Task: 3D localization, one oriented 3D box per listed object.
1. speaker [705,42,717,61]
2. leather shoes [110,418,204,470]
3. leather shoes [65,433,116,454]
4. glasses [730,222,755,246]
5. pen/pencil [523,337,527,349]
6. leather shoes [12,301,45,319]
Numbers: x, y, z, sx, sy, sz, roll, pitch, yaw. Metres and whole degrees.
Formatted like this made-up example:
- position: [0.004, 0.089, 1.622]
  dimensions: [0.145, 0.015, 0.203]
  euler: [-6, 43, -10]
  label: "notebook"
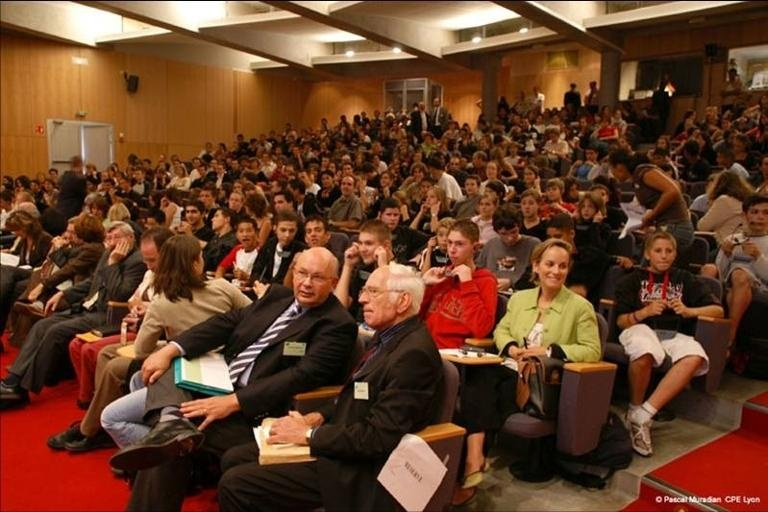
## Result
- position: [8.772, -5.455, 14.199]
  dimensions: [0.347, 0.403, 0.274]
  euler: [7, 11, 28]
  label: "speaker"
- position: [-1.262, 1.029, 2.932]
  dimensions: [0.513, 0.178, 0.242]
  euler: [-16, 32, -14]
  label: "leather shoes"
- position: [-2.133, 1.340, 3.883]
  dimensions: [0.331, 0.132, 0.135]
  euler: [5, -8, -35]
  label: "leather shoes"
- position: [3.228, -0.194, 4.760]
  dimensions: [0.258, 0.068, 0.208]
  euler: [9, -21, -43]
  label: "glasses"
- position: [0.976, 0.605, 3.680]
  dimensions: [0.022, 0.065, 0.018]
  euler: [-3, -13, -6]
  label: "pen/pencil"
- position: [-3.449, 0.524, 5.162]
  dimensions: [0.403, 0.147, 0.169]
  euler: [6, 8, 17]
  label: "leather shoes"
